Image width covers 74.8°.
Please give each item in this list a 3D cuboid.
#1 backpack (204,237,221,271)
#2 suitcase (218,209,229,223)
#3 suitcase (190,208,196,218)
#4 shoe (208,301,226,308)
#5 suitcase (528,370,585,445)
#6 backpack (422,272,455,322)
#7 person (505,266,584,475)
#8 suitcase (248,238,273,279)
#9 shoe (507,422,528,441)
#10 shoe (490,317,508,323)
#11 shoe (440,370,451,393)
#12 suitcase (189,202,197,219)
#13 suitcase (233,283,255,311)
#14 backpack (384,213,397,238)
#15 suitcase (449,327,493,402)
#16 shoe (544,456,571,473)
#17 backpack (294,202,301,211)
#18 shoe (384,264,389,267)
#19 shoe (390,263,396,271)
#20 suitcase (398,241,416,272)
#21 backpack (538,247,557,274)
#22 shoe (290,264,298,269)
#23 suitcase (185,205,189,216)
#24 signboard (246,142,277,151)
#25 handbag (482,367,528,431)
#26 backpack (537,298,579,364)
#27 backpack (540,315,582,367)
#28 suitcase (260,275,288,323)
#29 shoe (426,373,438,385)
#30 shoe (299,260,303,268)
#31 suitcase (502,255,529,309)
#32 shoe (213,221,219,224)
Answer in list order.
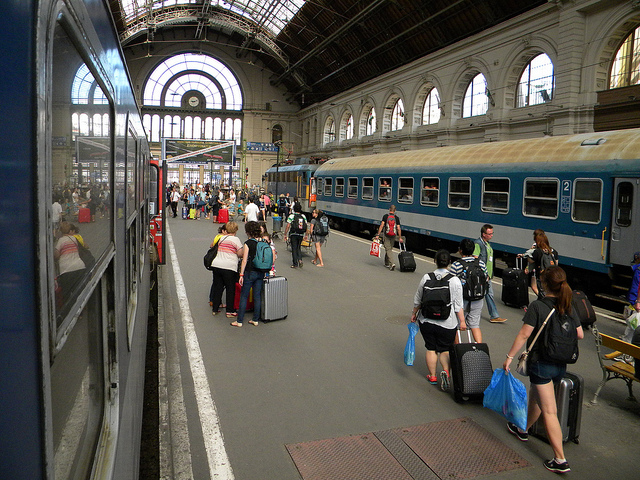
[{"bbox_3d":[-2.406,0.316,9.403,0.334,0.758,0.679,-3,8,-28],"label":"backpack"},{"bbox_3d":[-6.829,-1.703,29.397,0.787,0.930,0.553,-4,9,-39],"label":"suitcase"},{"bbox_3d":[-9.830,-2.103,32.422,0.493,0.908,0.460,0,-8,0],"label":"suitcase"},{"bbox_3d":[-2.568,1.585,10.287,0.380,0.175,0.137,0,5,10],"label":"shoe"},{"bbox_3d":[3.001,2.144,5.425,0.493,0.890,0.520,-1,5,-39],"label":"suitcase"},{"bbox_3d":[1.822,0.889,6.523,0.431,0.726,0.367,0,3,40],"label":"backpack"},{"bbox_3d":[2.665,1.468,5.012,0.729,2.293,0.662,6,8,34],"label":"person"},{"bbox_3d":[-1.189,0.364,8.665,0.402,0.741,0.642,-2,6,-42],"label":"suitcase"},{"bbox_3d":[2.549,2.492,5.450,0.100,0.132,0.269,-2,13,-10],"label":"shoe"},{"bbox_3d":[4.199,1.881,9.909,0.359,0.192,0.133,-3,-2,10],"label":"shoe"},{"bbox_3d":[1.953,2.201,6.576,0.119,0.353,0.162,-2,10,16],"label":"shoe"},{"bbox_3d":[-9.835,-2.139,32.577,0.590,1.038,0.558,1,-12,0],"label":"suitcase"},{"bbox_3d":[-1.703,1.242,9.282,0.455,0.849,0.449,4,25,0],"label":"suitcase"},{"bbox_3d":[2.530,-0.489,15.164,0.404,0.692,0.663,1,-2,0],"label":"backpack"},{"bbox_3d":[2.332,1.806,6.449,0.523,1.234,0.371,-2,-35,4],"label":"suitcase"},{"bbox_3d":[2.670,2.549,4.795,0.122,0.151,0.294,1,-1,-42],"label":"shoe"},{"bbox_3d":[-1.473,-2.164,27.074,0.589,0.351,0.886,0,-1,-9],"label":"backpack"},{"bbox_3d":[2.431,0.949,15.557,0.036,0.065,0.348,-1,8,-14],"label":"shoe"},{"bbox_3d":[2.601,0.952,15.221,0.145,0.218,0.557,3,7,14],"label":"shoe"},{"bbox_3d":[3.097,0.772,14.974,0.588,0.704,0.755,3,7,13],"label":"suitcase"},{"bbox_3d":[5.233,0.426,9.649,0.457,0.487,0.300,-1,7,-18],"label":"backpack"},{"bbox_3d":[-0.937,0.942,15.020,0.355,0.160,0.121,-2,1,44],"label":"shoe"},{"bbox_3d":[-10.624,-2.385,33.521,0.286,0.873,0.800,-1,7,-18],"label":"suitcase"},{"bbox_3d":[-8.414,-13.458,59.908,3.976,1.083,2.239,5,8,28],"label":"signboard"},{"bbox_3d":[2.386,2.004,5.465,0.178,0.699,0.599,-21,27,-38],"label":"handbag"},{"bbox_3d":[2.707,1.012,5.035,0.403,0.812,0.501,13,-9,26],"label":"backpack"},{"bbox_3d":[2.785,1.151,4.916,0.374,0.602,0.316,8,-5,-3],"label":"backpack"},{"bbox_3d":[-1.030,1.293,9.225,0.607,0.991,0.275,-2,8,-27],"label":"suitcase"},{"bbox_3d":[1.810,2.251,6.826,0.084,0.101,0.208,0,4,-3],"label":"shoe"},{"bbox_3d":[-0.693,0.838,15.036,0.088,0.259,0.215,3,7,17],"label":"shoe"},{"bbox_3d":[5.166,1.115,11.181,0.486,1.396,0.625,0,3,-23],"label":"suitcase"},{"bbox_3d":[-7.346,-1.258,29.607,0.287,0.102,1.293,-1,8,-22],"label":"shoe"}]
